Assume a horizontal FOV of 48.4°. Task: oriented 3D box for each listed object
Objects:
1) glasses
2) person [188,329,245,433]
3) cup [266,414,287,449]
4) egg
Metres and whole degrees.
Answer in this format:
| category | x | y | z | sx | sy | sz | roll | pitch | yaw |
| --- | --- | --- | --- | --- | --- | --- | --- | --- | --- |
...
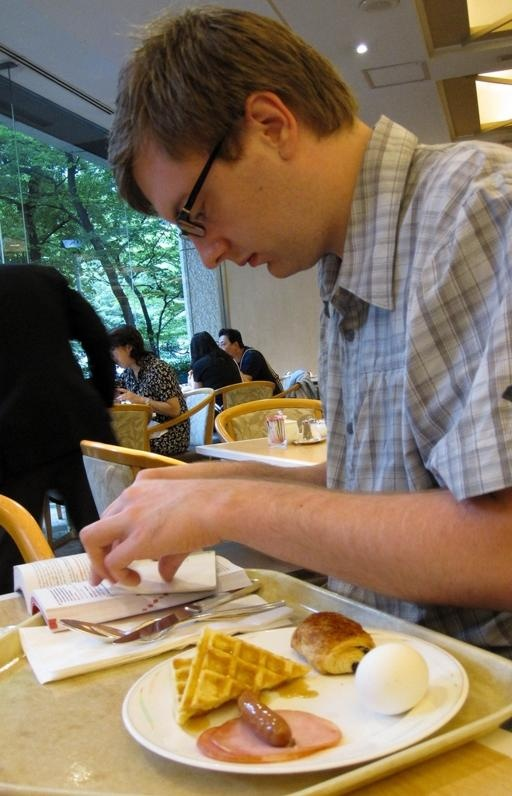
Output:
| category | x | y | z | sx | sy | sz | roll | pitch | yaw |
| --- | --- | --- | --- | --- | --- | --- | --- | --- | --- |
| glasses | -0.085 | -0.276 | 0.767 | 0.026 | 0.093 | 0.091 | 14 | 7 | 16 |
| person | -0.387 | -0.134 | 5.505 | 0.455 | 1.010 | 0.557 | -13 | -3 | -25 |
| cup | 0.077 | 0.134 | 2.100 | 0.105 | 0.164 | 0.101 | -2 | -4 | 0 |
| egg | 0.096 | 0.197 | 0.397 | 0.043 | 0.050 | 0.043 | 1 | -1 | -38 |
